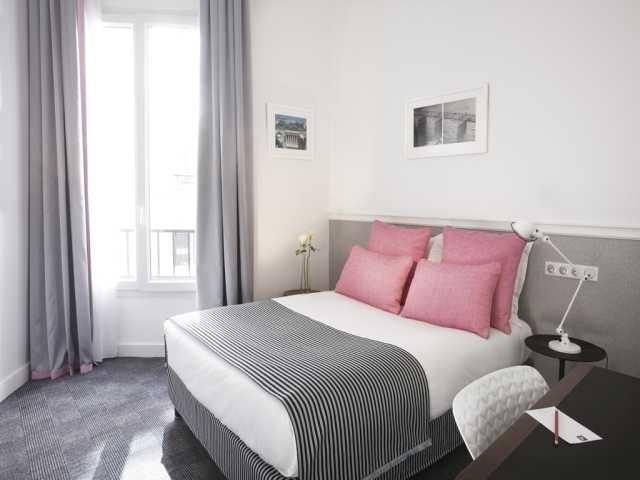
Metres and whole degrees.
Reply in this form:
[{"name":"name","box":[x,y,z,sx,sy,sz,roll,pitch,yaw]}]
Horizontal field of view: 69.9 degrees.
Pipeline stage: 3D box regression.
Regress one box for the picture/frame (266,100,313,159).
[{"name":"picture/frame","box":[-0.321,-1.082,4.427,0.532,0.566,0.027,-3,7,-30]}]

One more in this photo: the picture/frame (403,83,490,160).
[{"name":"picture/frame","box":[1.063,-0.988,3.791,0.016,0.537,0.682,-4,5,-41]}]
